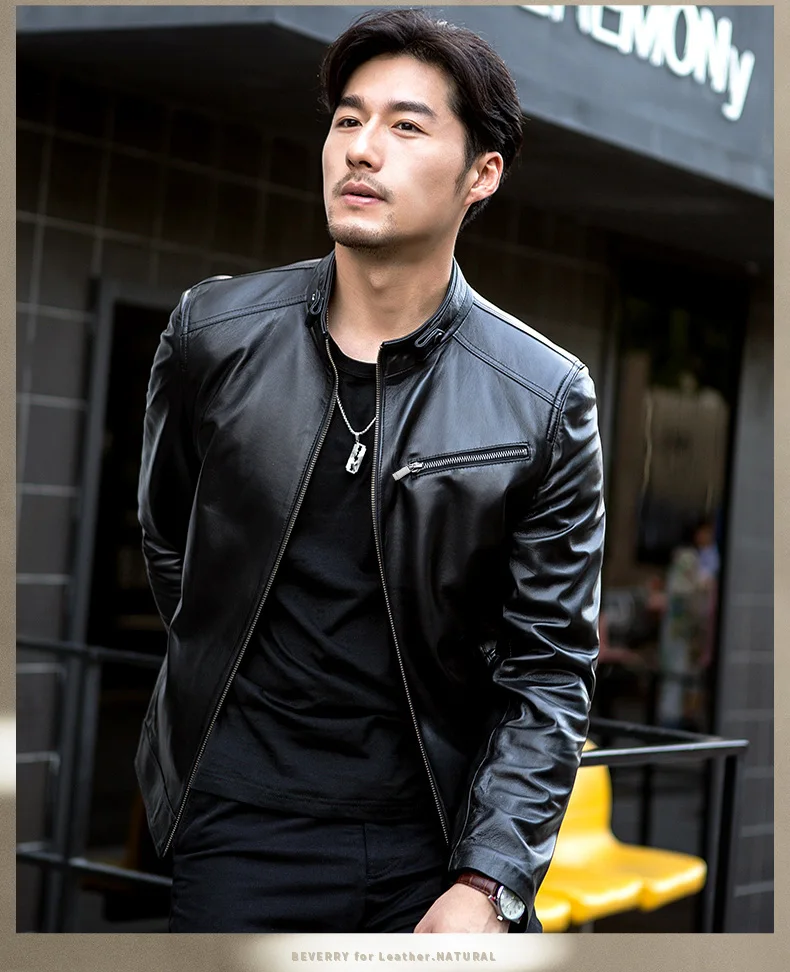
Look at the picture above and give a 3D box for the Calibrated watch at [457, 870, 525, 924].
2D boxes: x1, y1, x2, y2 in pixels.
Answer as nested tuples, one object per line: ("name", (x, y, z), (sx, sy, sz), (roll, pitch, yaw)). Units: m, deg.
("Calibrated watch", (0.136, 0.583, 1.538), (0.058, 0.036, 0.063), (31, -10, 2))
